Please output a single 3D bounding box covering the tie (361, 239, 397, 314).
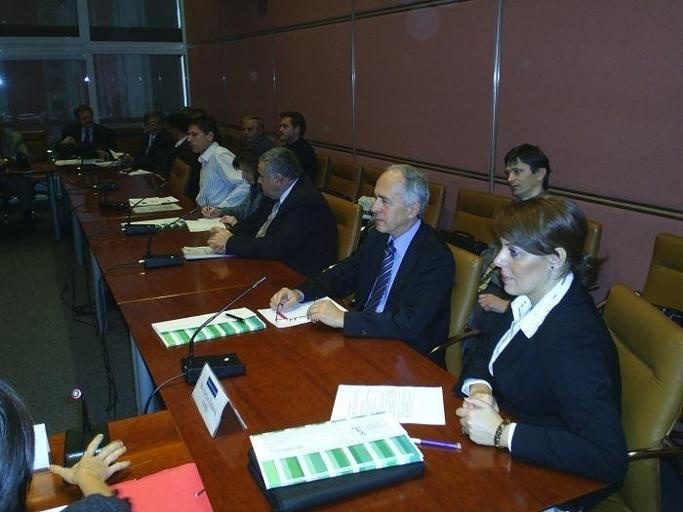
[{"bbox_3d":[0.186,0.115,2.724,0.085,0.556,0.060,13,-16,0],"label":"tie"}]

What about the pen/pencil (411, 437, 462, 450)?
[{"bbox_3d":[0.292,0.588,1.697,0.154,0.024,0.030,3,60,8],"label":"pen/pencil"}]

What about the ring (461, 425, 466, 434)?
[{"bbox_3d":[0.394,0.564,1.754,0.010,0.007,0.023,-1,30,-11],"label":"ring"}]

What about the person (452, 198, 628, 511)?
[{"bbox_3d":[0.664,0.229,1.777,0.481,0.747,0.573,5,19,15],"label":"person"}]

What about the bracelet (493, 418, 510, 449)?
[{"bbox_3d":[0.489,0.550,1.684,0.050,0.076,0.080,-3,3,6],"label":"bracelet"}]

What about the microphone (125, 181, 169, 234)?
[{"bbox_3d":[-1.609,-0.395,4.489,0.259,0.048,0.638,-5,24,-15],"label":"microphone"}]

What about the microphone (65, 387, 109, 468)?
[{"bbox_3d":[-0.787,0.498,1.650,0.124,0.206,0.166,-8,13,-18],"label":"microphone"}]
